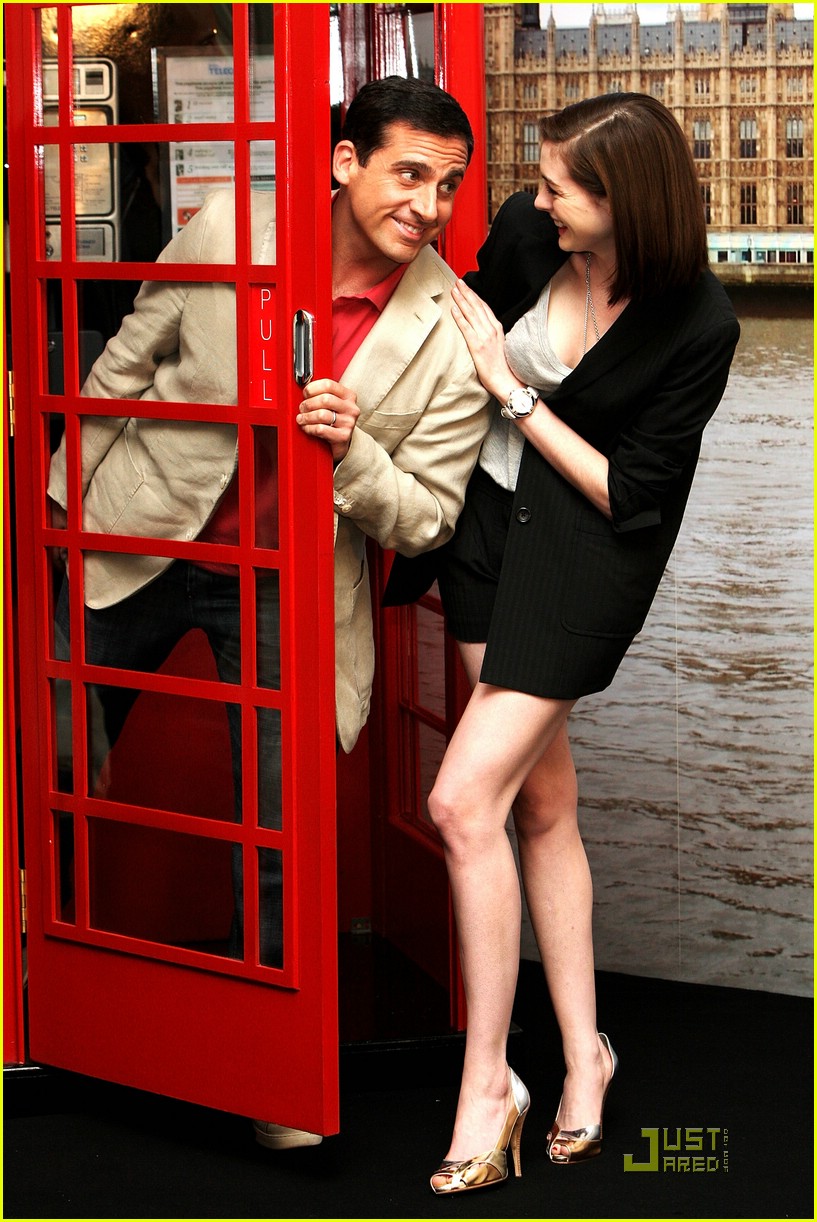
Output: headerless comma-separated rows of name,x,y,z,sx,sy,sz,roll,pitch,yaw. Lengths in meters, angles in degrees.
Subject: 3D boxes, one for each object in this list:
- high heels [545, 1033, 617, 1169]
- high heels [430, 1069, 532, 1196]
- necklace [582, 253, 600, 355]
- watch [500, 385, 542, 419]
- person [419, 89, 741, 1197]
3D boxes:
high heels,0.268,0.721,1.740,0.064,0.205,0.055,-16,-53,41
high heels,0.102,0.714,1.625,0.089,0.161,0.190,-10,-16,44
necklace,0.234,-0.389,1.486,0.015,0.127,0.015,2,-13,23
watch,0.138,-0.258,1.453,0.030,0.047,0.048,42,0,2
person,0.209,0.080,1.567,0.354,1.387,0.463,2,2,1
